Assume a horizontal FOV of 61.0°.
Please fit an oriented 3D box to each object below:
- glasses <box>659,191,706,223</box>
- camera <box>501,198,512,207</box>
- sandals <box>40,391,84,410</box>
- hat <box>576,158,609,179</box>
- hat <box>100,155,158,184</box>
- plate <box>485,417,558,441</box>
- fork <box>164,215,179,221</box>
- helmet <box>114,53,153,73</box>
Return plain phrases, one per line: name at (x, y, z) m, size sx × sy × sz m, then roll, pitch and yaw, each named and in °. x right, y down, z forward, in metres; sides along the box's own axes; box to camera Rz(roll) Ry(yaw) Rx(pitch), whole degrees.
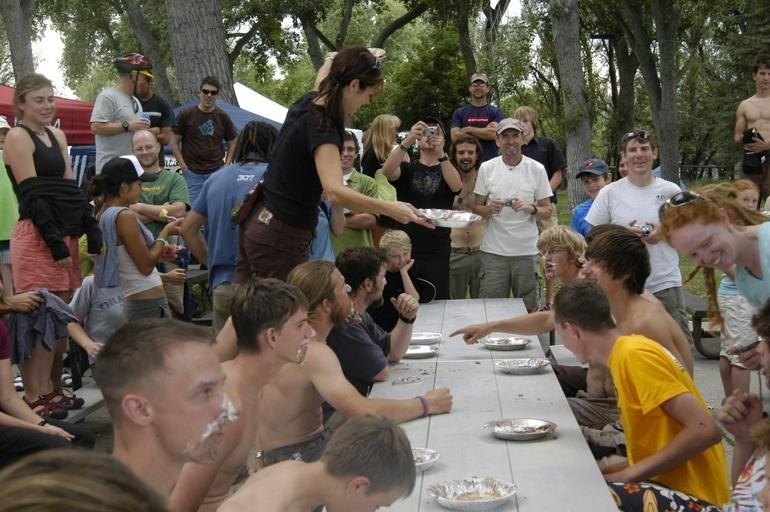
glasses at (1.804, -0.315, 3.993) m, size 0.248 × 0.165 × 0.198 m, roll 7°, pitch 15°, yaw 39°
camera at (1.408, -0.620, 7.500) m, size 0.078 × 0.070 × 0.105 m, roll 3°, pitch 0°, yaw 5°
sandals at (-2.827, 1.263, 5.764) m, size 0.258 × 0.098 × 0.138 m, roll 3°, pitch 7°, yaw -4°
hat at (2.656, -1.121, 8.192) m, size 0.256 × 0.189 × 0.383 m, roll -8°, pitch -12°, yaw 41°
hat at (-2.475, -0.813, 6.309) m, size 0.549 × 0.271 × 0.348 m, roll -14°, pitch 18°, yaw -32°
plate at (0.774, 0.969, 3.719) m, size 0.398 × 0.063 × 0.257 m, roll 0°, pitch 11°, yaw 9°
fork at (-2.339, -0.421, 7.161) m, size 0.164 × 0.057 × 0.099 m, roll 5°, pitch 12°, yaw 43°
helmet at (-2.932, -2.225, 7.617) m, size 0.355 × 0.155 × 0.248 m, roll -9°, pitch 23°, yaw -38°
